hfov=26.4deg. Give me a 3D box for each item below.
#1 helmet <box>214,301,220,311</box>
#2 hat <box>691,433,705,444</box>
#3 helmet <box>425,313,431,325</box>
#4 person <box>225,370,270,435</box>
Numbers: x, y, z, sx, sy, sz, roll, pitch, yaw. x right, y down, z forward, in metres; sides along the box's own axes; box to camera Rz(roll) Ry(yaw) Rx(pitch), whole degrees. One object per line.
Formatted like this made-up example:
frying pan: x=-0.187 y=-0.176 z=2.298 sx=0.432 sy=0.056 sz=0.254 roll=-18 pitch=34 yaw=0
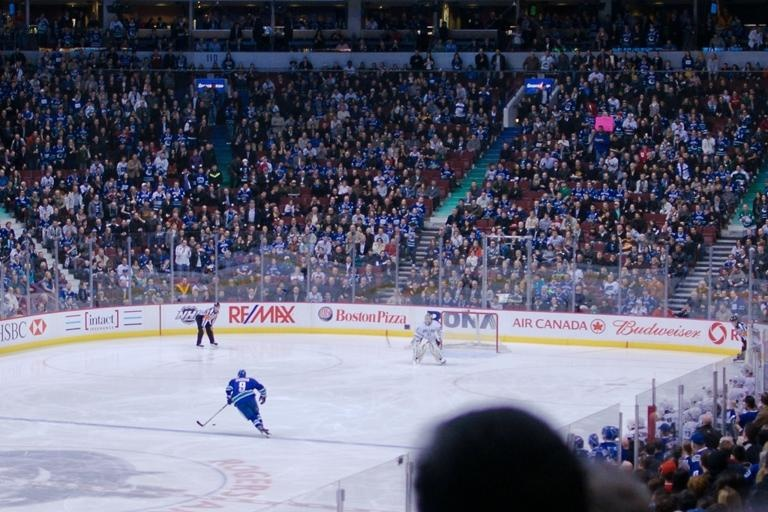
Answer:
helmet: x=-5.963 y=1.837 z=58.791 sx=0.226 sy=0.381 sz=0.253 roll=4 pitch=-17 yaw=-34
hat: x=8.263 y=4.798 z=43.218 sx=0.316 sy=0.284 sz=0.453 roll=-3 pitch=13 yaw=11
helmet: x=1.489 y=2.187 z=55.951 sx=0.244 sy=0.368 sz=0.313 roll=-7 pitch=13 yaw=-4
person: x=-4.149 y=4.509 z=49.429 sx=1.135 sy=2.280 sz=0.752 roll=-9 pitch=-34 yaw=-15
